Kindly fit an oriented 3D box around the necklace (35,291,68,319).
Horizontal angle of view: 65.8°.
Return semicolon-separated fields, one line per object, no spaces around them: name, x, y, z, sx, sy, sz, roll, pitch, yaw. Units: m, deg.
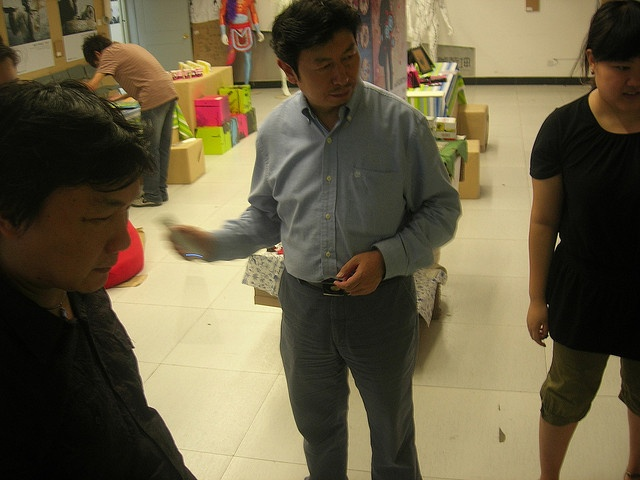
necklace;-0.531;0.125;0.976;0.055;0.030;0.071;-27;38;-27

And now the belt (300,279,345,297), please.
belt;0.027;0.169;1.749;0.088;0.035;0.071;9;11;-11
